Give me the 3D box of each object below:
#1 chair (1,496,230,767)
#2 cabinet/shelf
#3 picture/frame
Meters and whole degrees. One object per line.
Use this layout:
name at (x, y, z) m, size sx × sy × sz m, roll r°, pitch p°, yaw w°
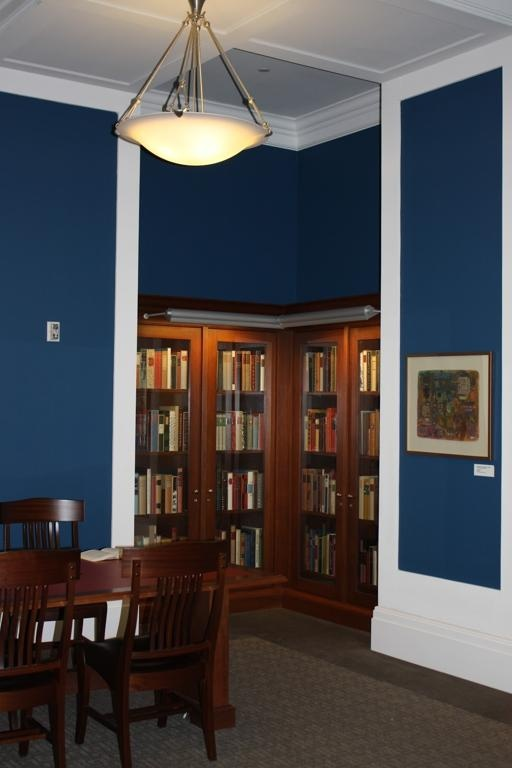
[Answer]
chair at (-0.603, 1.055, 2.457) m, size 1.104 × 0.999 × 0.685 m, roll 3°, pitch -3°, yaw -34°
cabinet/shelf at (-0.226, 0.582, 5.622) m, size 2.119 × 3.369 × 2.320 m, roll -2°, pitch -1°, yaw 25°
picture/frame at (1.181, 0.125, 3.608) m, size 0.029 × 0.683 × 0.623 m, roll 0°, pitch 1°, yaw -31°
